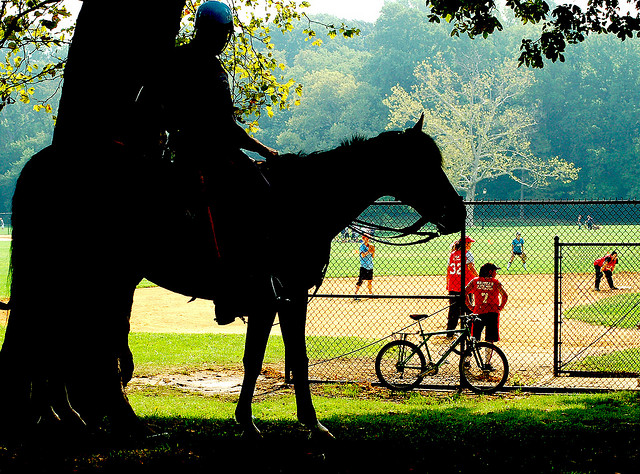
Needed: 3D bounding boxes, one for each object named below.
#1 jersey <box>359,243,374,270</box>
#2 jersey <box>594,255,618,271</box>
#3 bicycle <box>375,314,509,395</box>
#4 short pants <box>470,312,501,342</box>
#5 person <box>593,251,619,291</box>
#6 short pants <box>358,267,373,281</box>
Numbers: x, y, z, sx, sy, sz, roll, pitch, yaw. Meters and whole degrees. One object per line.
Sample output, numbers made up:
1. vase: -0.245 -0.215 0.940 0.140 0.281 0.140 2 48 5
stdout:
1. jersey: 1.238 0.563 29.519 0.503 0.636 0.229 10 12 39
2. jersey: 8.086 0.753 30.006 0.573 0.413 0.761 -4 -2 18
3. bicycle: 2.350 2.315 20.620 2.724 1.429 1.054 -1 -9 18
4. short pants: 3.277 1.800 21.141 0.754 0.623 0.261 0 5 -17
5. person: 8.120 0.991 30.048 0.667 1.025 1.673 -5 -2 16
6. short pants: 1.239 1.054 29.432 0.362 0.354 0.327 1 -7 -6
